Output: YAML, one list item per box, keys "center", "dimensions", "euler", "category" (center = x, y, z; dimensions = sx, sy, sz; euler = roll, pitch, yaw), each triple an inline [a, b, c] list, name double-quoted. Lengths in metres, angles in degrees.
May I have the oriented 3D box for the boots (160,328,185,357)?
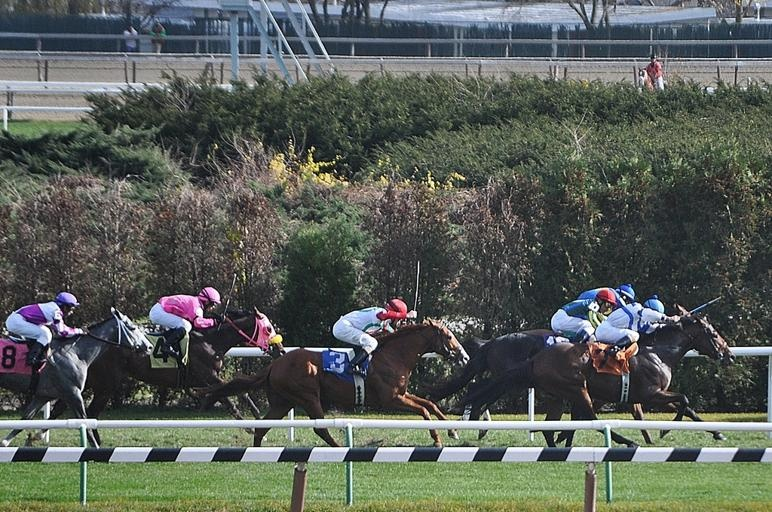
- center: [-4.211, 1.741, 38.452]
  dimensions: [0.506, 0.660, 0.345]
  euler: [3, -1, -8]
  category: "boots"

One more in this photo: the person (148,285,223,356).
- center: [-3.996, 1.386, 38.862]
  dimensions: [1.276, 1.607, 0.969]
  euler: [10, -1, 1]
  category: "person"

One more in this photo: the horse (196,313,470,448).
- center: [-1.164, 2.575, 38.188]
  dimensions: [3.566, 2.656, 1.494]
  euler: [1, 0, -1]
  category: "horse"

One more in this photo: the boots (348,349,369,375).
- center: [-0.514, 2.140, 37.660]
  dimensions: [0.282, 0.518, 0.487]
  euler: [2, 36, 4]
  category: "boots"

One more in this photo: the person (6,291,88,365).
- center: [-6.723, 1.506, 37.950]
  dimensions: [1.382, 1.385, 0.388]
  euler: [-2, 3, -15]
  category: "person"
